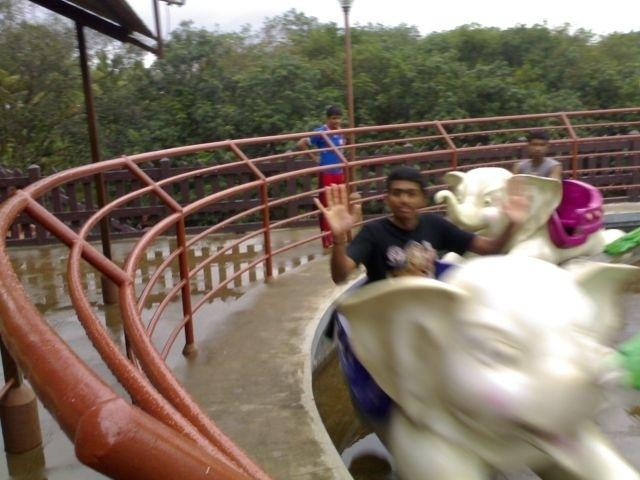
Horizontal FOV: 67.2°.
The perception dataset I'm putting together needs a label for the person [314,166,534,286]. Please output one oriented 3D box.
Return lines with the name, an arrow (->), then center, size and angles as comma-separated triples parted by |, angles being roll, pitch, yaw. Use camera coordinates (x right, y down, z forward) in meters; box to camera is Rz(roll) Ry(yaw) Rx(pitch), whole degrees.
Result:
person -> 0.422, -0.070, 2.174 | 0.476, 0.531, 0.860 | 5, 16, 42
